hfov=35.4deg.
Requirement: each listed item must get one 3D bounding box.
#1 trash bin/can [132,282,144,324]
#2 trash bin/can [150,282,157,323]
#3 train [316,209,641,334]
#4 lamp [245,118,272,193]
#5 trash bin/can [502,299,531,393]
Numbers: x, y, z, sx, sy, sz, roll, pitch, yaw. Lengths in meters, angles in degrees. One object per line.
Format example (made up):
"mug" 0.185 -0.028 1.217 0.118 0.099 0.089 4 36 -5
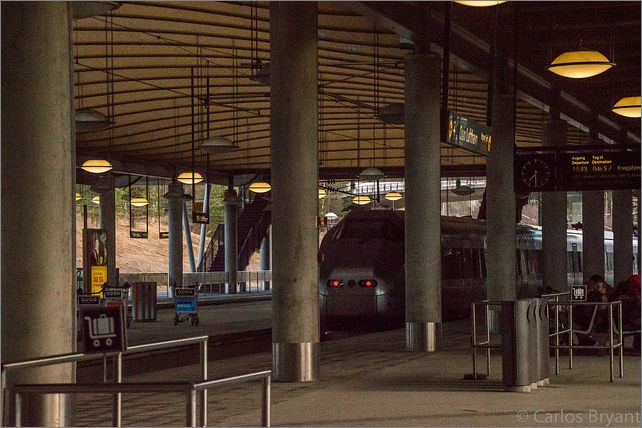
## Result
"trash bin/can" -5.547 2.675 30.564 0.298 1.175 0.265 1 -5 -11
"trash bin/can" -5.155 2.681 30.726 0.182 1.160 0.250 2 -6 -20
"train" 4.359 1.800 32.553 3.303 3.726 13.264 -3 -6 27
"lamp" -2.296 -1.681 37.152 1.092 3.548 0.905 3 2 5
"trash bin/can" 3.216 2.164 16.427 0.459 1.464 0.255 0 -5 4
